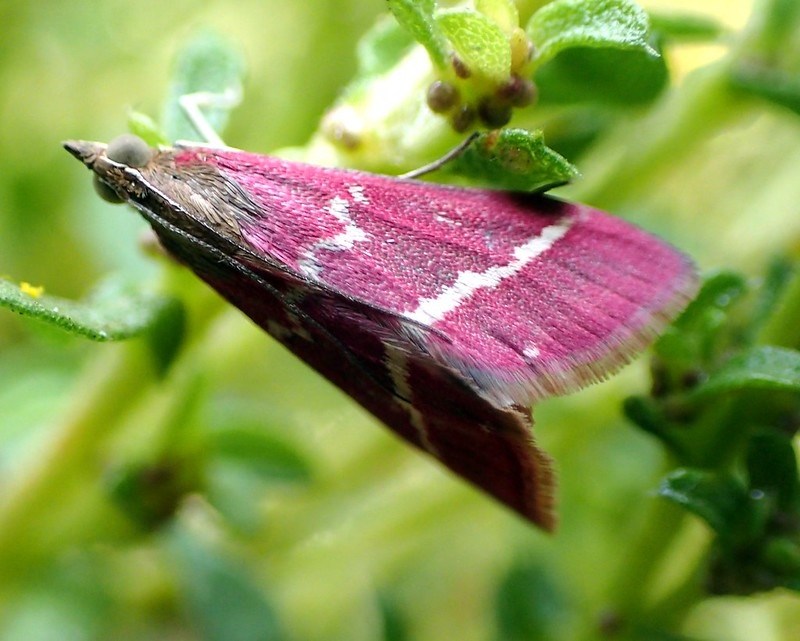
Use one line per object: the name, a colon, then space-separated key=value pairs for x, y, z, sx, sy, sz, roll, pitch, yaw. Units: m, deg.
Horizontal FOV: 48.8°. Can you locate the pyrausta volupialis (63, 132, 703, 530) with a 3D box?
pyrausta volupialis: x=0.003 y=-0.034 z=0.601 sx=0.329 sy=0.247 sz=0.185 roll=8 pitch=34 yaw=40
